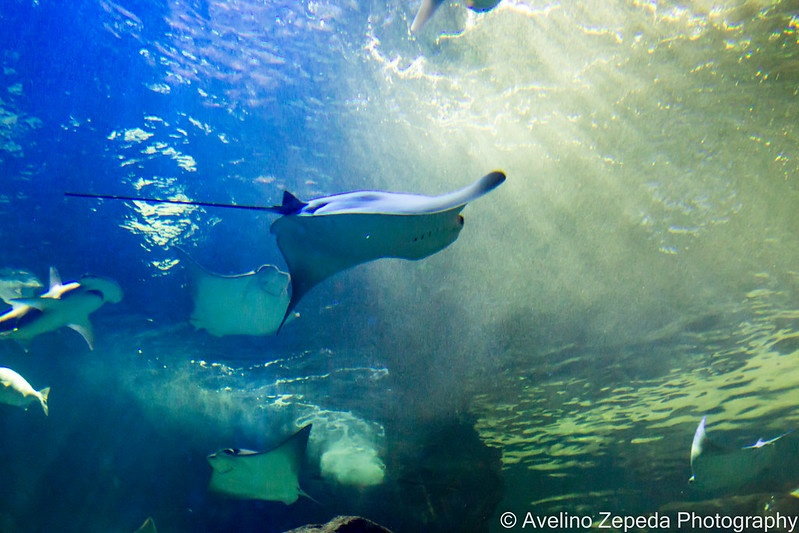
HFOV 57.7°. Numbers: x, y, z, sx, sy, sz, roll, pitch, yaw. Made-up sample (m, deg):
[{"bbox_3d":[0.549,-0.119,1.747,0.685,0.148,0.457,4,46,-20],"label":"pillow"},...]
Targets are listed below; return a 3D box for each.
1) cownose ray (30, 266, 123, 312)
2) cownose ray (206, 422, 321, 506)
[{"bbox_3d":[-6.715,0.426,14.975,1.509,0.531,1.475,-15,28,-42],"label":"cownose ray"},{"bbox_3d":[-3.160,4.686,16.405,2.186,2.234,0.315,-39,41,29],"label":"cownose ray"}]
